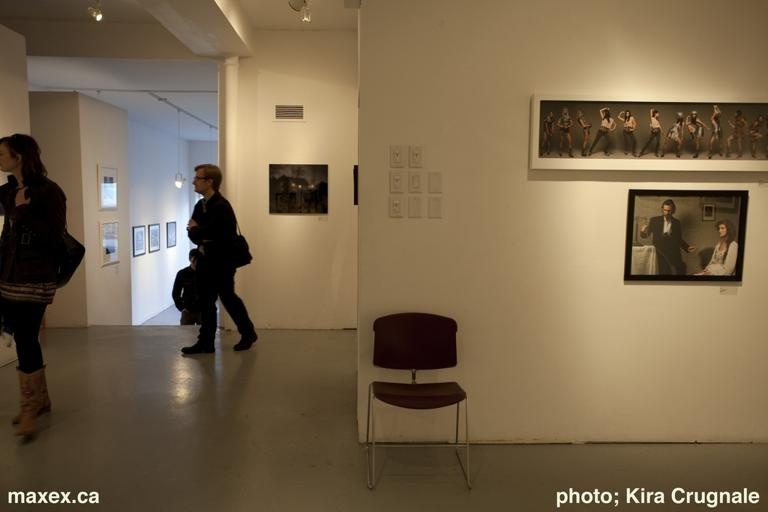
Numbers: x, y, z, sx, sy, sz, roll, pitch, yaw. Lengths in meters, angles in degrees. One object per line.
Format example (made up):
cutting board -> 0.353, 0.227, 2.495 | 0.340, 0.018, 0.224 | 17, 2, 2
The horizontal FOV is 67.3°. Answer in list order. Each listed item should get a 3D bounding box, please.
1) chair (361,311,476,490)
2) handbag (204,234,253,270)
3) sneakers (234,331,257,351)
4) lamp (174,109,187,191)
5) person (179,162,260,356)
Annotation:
chair -> 0.282, 1.229, 5.021 | 1.000, 1.307, 1.004 | 0, 1, -15
handbag -> -1.918, -0.076, 7.171 | 0.490, 0.606, 0.337 | -3, 1, -31
sneakers -> -1.755, 1.114, 7.445 | 0.138, 0.176, 0.413 | 1, 3, 27
lamp -> -4.738, -2.483, 13.367 | 0.198, 1.838, 0.884 | -7, 19, -38
person -> -2.005, 0.061, 7.215 | 0.867, 2.343, 0.670 | 1, 4, -18
